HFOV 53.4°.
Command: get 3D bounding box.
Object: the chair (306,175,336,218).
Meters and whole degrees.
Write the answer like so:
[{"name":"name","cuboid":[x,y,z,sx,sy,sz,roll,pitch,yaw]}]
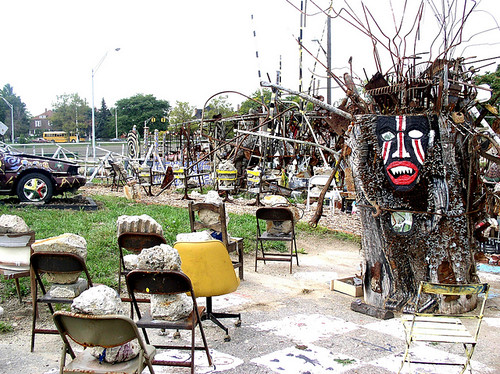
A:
[{"name":"chair","cuboid":[2.035,0.161,13.992,0.887,0.971,1.994,2,4,10]}]
